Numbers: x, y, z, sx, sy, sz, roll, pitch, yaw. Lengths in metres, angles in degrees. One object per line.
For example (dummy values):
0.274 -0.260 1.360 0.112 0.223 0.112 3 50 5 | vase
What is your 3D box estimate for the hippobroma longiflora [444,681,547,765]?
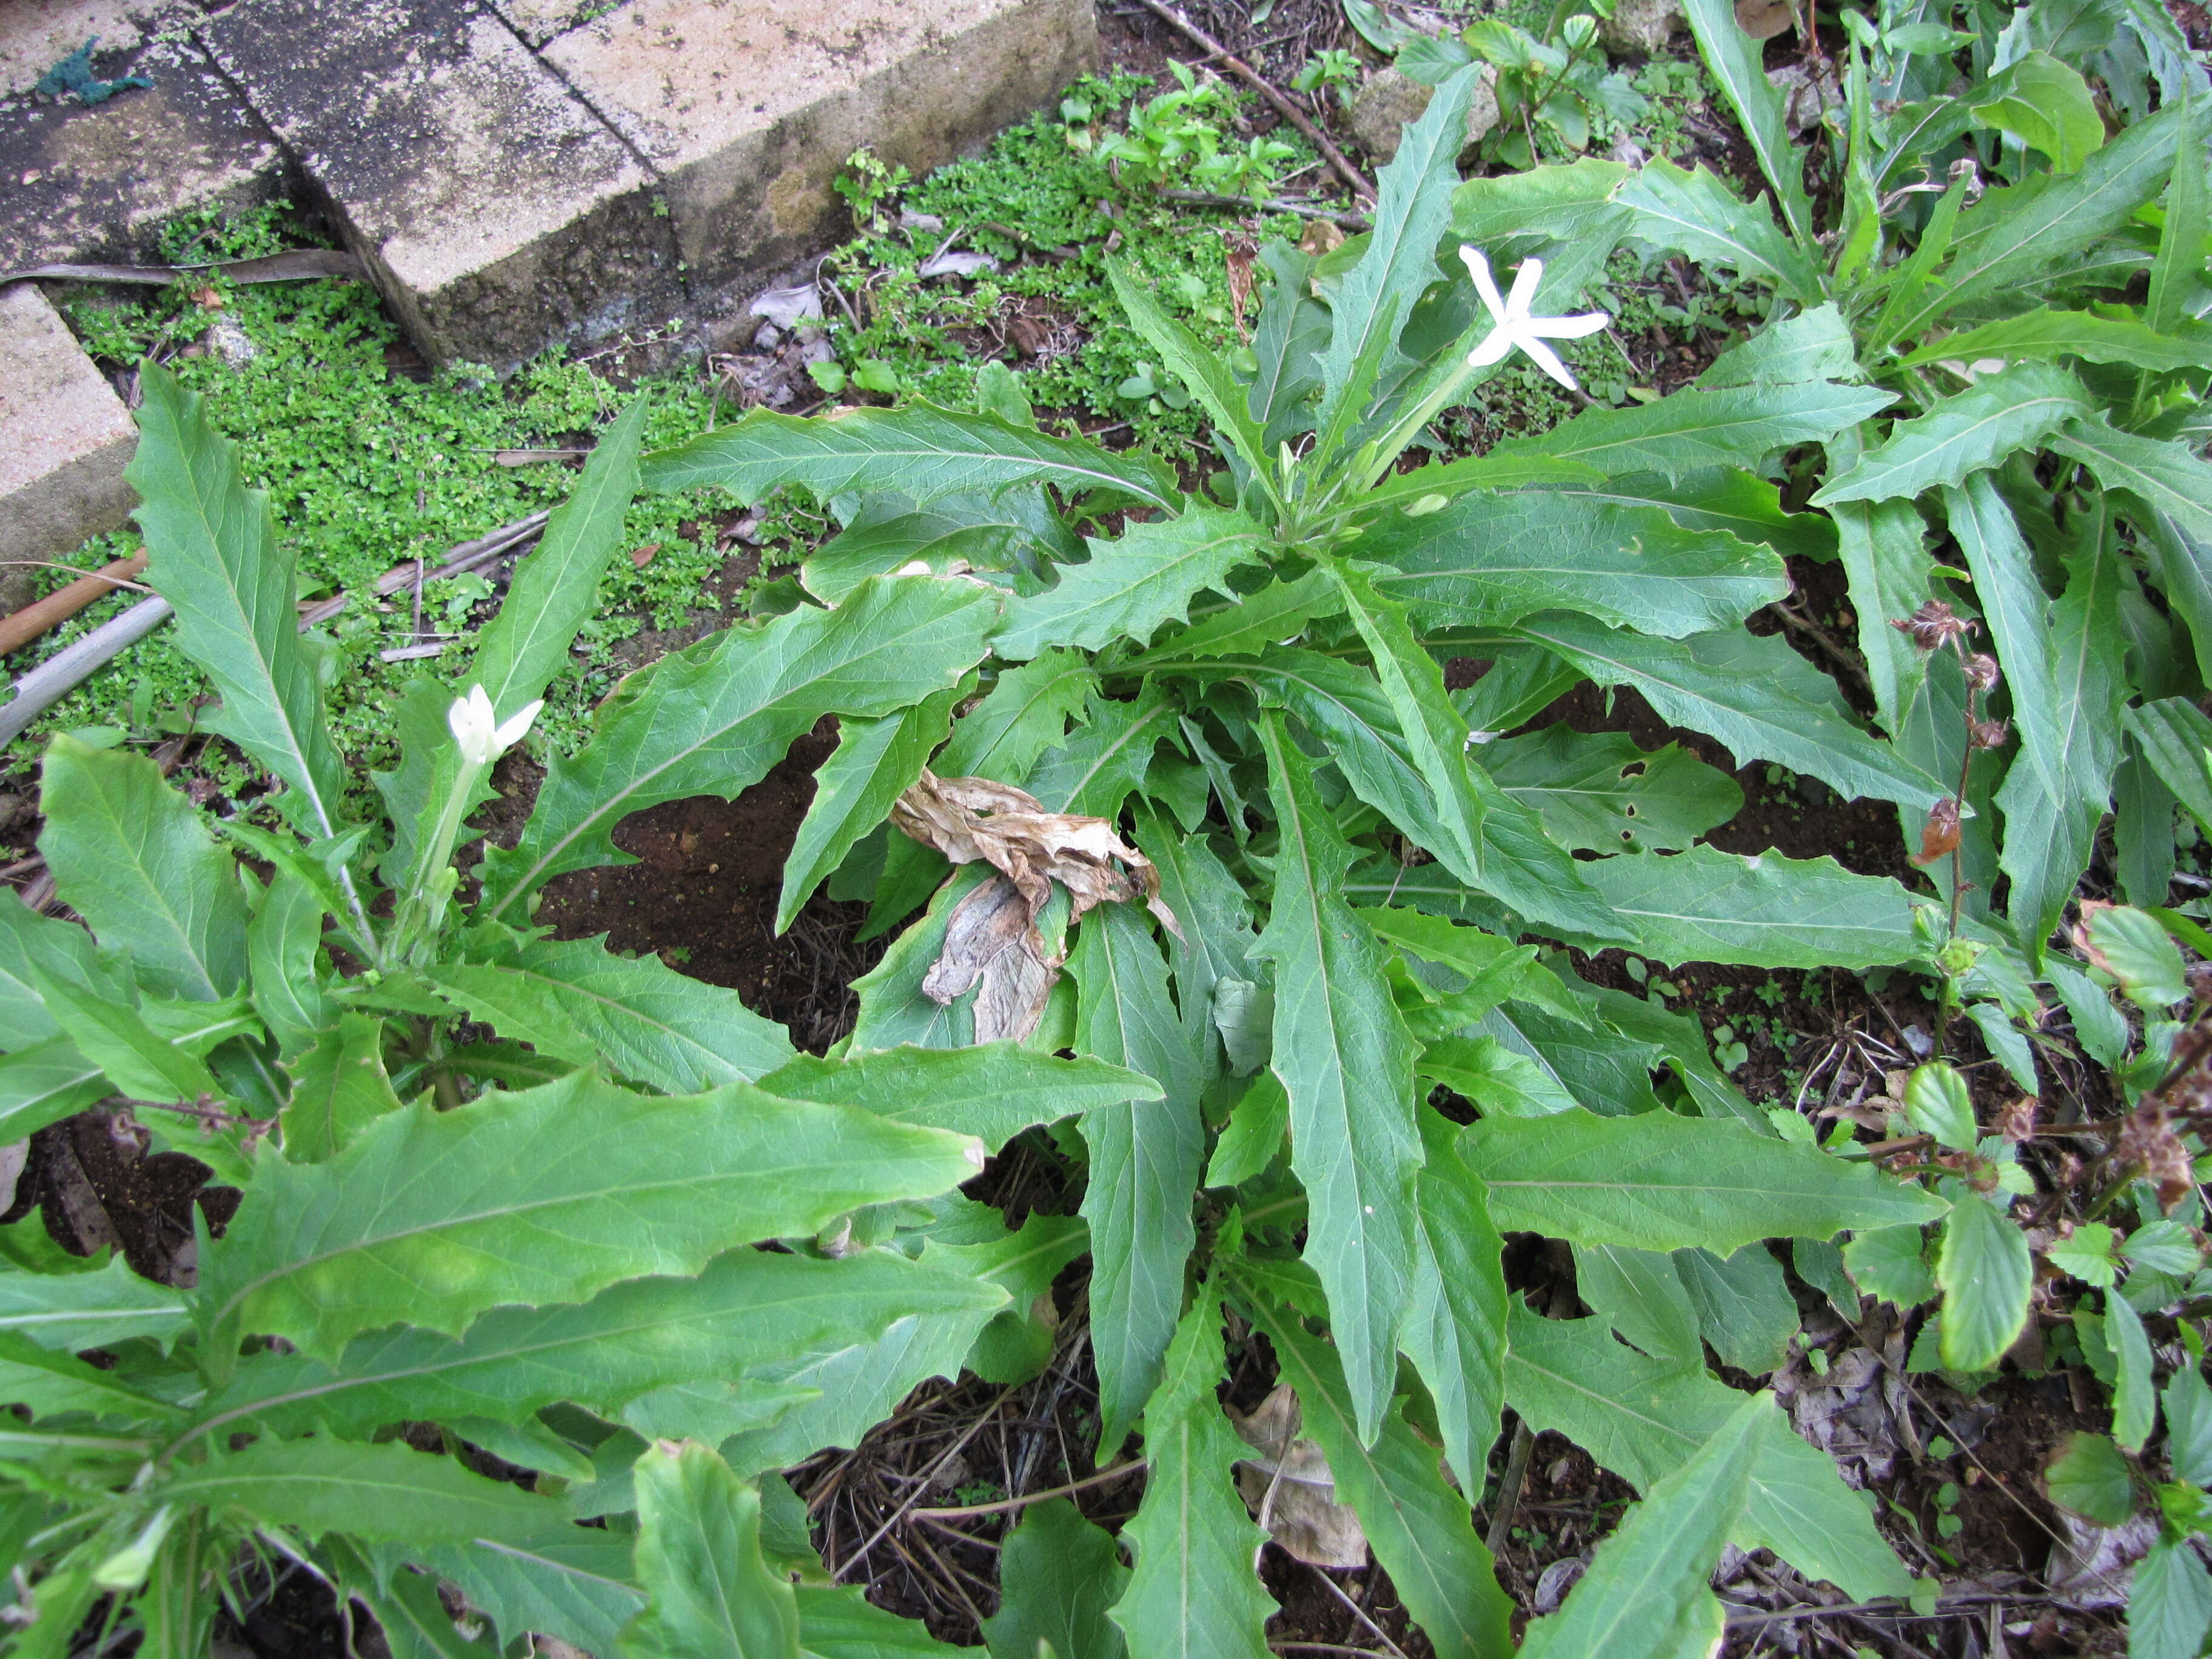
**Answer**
-0.941 -0.148 2.647 0.116 0.118 0.106 15 63 18 | hippobroma longiflora
